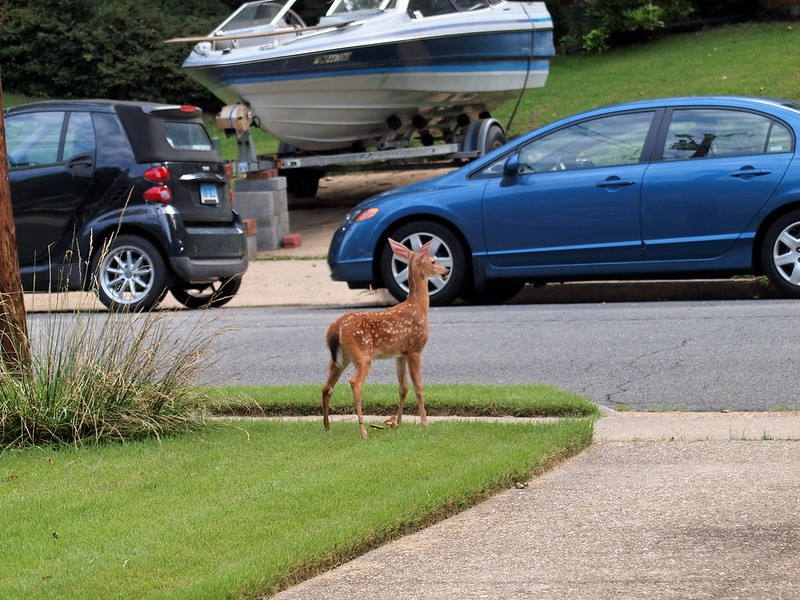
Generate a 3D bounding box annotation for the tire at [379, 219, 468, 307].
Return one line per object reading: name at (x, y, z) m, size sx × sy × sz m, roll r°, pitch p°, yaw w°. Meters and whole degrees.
tire at (0.234, -0.379, 12.348) m, size 0.980 × 0.842 × 0.302 m, roll 2°, pitch 4°, yaw 7°

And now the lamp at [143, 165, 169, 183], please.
lamp at (-2.513, -1.297, 13.643) m, size 0.224 × 0.148 × 0.116 m, roll 0°, pitch 3°, yaw -9°

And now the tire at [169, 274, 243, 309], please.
tire at (-2.144, -0.077, 14.894) m, size 0.685 × 0.182 × 0.660 m, roll -3°, pitch 0°, yaw 21°

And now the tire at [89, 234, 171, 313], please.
tire at (-2.749, -0.292, 13.484) m, size 0.909 × 0.781 × 0.297 m, roll -2°, pitch -7°, yaw 5°

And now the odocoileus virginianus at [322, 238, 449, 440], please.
odocoileus virginianus at (-0.121, 0.268, 9.323) m, size 0.823 × 1.338 × 0.898 m, roll -2°, pitch 10°, yaw 8°

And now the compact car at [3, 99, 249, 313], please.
compact car at (-2.887, -1.011, 13.915) m, size 2.300 × 2.201 × 0.980 m, roll -5°, pitch 10°, yaw -11°
